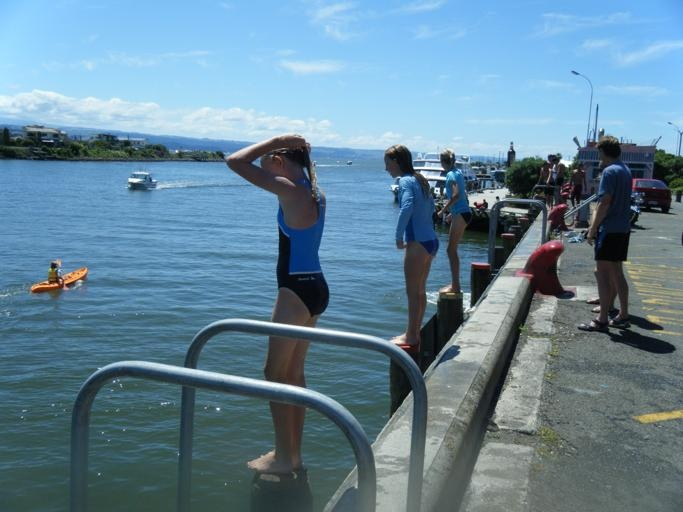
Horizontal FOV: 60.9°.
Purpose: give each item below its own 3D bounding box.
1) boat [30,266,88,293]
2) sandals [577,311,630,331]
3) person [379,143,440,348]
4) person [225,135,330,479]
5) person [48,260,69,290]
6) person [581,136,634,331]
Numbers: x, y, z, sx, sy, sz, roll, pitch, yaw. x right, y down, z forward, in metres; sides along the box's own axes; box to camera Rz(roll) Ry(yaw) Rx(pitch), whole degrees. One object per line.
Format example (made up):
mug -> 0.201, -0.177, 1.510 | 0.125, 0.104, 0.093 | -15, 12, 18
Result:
boat -> -7.989, 0.747, 17.079 | 0.537, 0.393, 2.126 | 5, 11, 10
sandals -> 3.388, 0.843, 7.517 | 0.674, 0.257, 0.241 | 1, -2, -2
person -> 0.799, -0.084, 6.842 | 0.631, 2.388, 0.870 | 2, 11, 8
person -> -0.461, 0.491, 4.686 | 0.688, 2.888, 0.885 | 1, 11, 1
person -> -8.000, 0.520, 16.490 | 0.472, 0.717, 0.857 | -5, 12, -27
person -> 3.446, -0.293, 7.445 | 0.593, 2.442, 0.832 | 6, 12, 25
